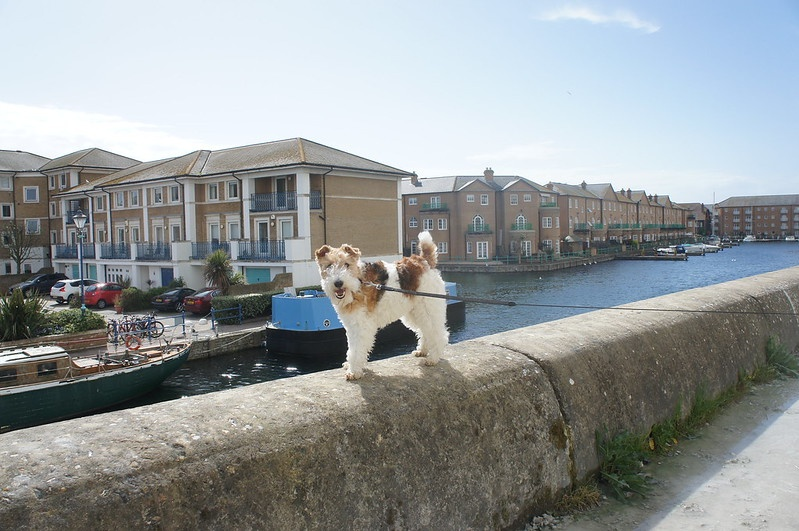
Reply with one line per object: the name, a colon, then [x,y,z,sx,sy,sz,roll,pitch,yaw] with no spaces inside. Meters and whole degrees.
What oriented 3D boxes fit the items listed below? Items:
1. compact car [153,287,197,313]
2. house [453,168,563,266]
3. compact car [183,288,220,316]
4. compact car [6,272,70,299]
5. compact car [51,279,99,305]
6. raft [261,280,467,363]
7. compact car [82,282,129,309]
compact car: [-10.579,1.612,29.739,0.979,0.725,2.201,0,7,14]
house: [11.705,-4.735,72.224,11.606,8.838,6.168,-2,2,-25]
compact car: [-8.684,1.657,28.364,0.886,0.722,2.189,1,9,19]
compact car: [-19.868,1.098,34.788,1.376,1.153,3.089,-1,-1,42]
compact car: [-16.463,1.378,32.121,1.080,0.836,1.999,1,10,15]
raft: [-1.577,1.398,23.894,6.120,2.199,3.192,-5,3,-44]
compact car: [-14.953,1.504,32.683,1.537,1.225,2.628,1,10,16]
